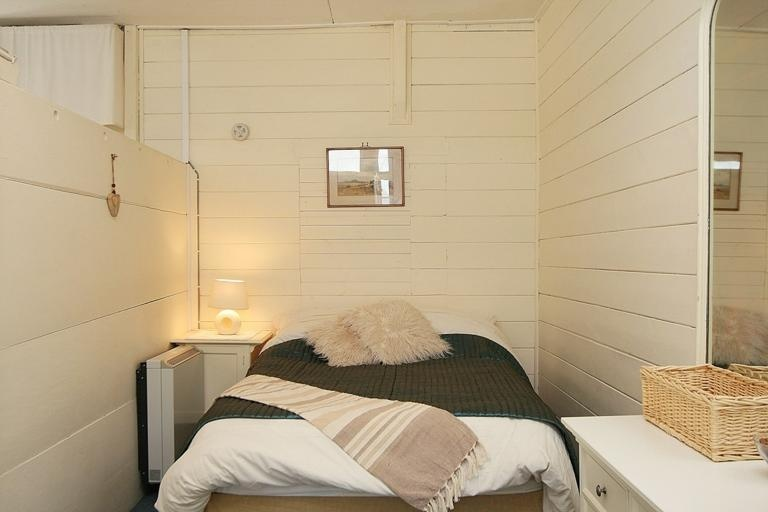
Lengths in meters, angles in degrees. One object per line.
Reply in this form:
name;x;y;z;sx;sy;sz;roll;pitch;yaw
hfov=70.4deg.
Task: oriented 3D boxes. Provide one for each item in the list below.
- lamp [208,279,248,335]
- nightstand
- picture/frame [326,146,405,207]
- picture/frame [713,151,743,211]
lamp;-1.191;0.393;4.173;0.296;0.436;0.293;2;6;-30
nightstand;-1.091;0.882;4.125;0.594;0.570;0.489;-4;2;13
picture/frame;-0.153;-0.627;4.377;0.628;0.482;0.027;0;3;7
picture/frame;1.571;-0.337;2.502;0.226;0.272;0.008;-5;9;-28
